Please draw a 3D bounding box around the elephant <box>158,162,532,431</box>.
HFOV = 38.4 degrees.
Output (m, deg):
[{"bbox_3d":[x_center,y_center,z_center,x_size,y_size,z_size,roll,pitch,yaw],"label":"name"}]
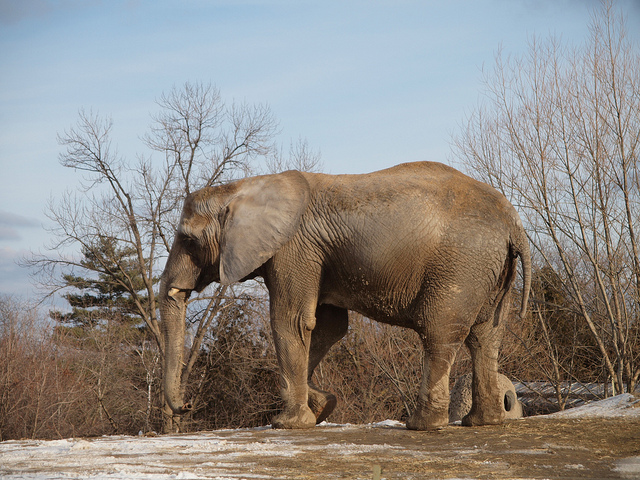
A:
[{"bbox_3d":[0.332,1.161,19.273,7.621,6.274,3.740,-2,7,4],"label":"elephant"}]
